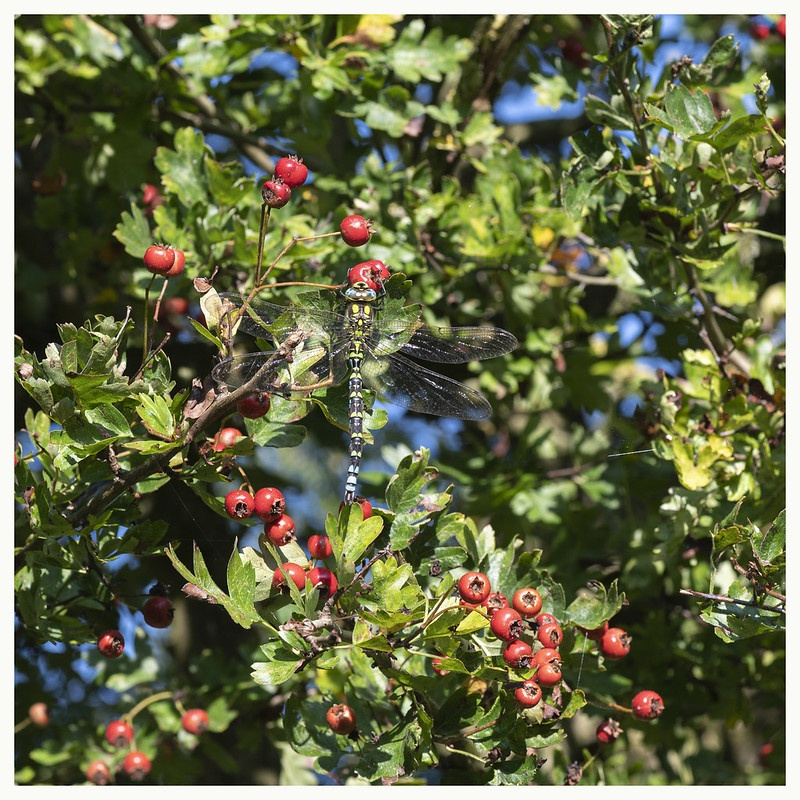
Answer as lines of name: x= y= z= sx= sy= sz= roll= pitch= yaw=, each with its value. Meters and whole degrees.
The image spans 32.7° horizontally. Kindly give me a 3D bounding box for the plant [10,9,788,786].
plant: x=0.018 y=-0.011 z=5.367 sx=4.790 sy=2.387 sz=0.937 roll=3 pitch=16 yaw=7
